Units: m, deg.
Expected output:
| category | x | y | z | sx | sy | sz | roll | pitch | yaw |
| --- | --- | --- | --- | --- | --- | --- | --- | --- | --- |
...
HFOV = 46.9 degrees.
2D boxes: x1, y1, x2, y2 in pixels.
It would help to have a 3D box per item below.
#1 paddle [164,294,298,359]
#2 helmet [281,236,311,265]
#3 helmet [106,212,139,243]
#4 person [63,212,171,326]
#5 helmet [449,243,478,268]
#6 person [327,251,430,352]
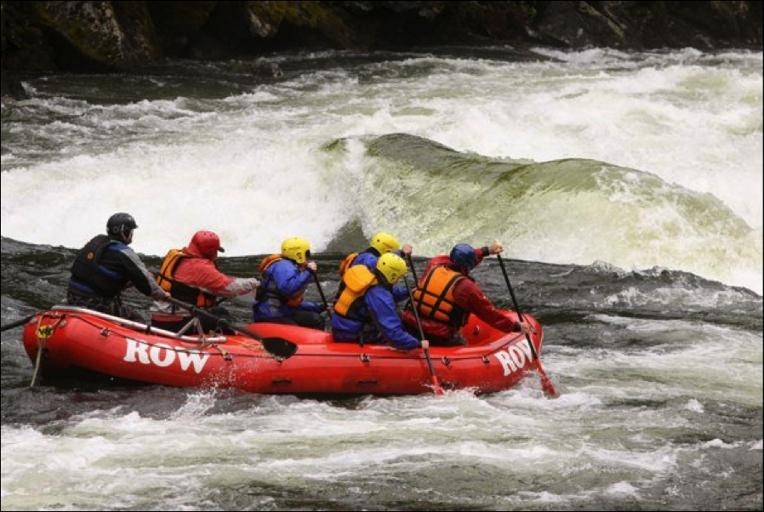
| category | x | y | z | sx | sy | sz | roll | pitch | yaw |
| --- | --- | --- | --- | --- | --- | --- | --- | --- | --- |
| paddle | -2.126 | 1.001 | 12.358 | 1.986 | 0.128 | 0.312 | 19 | 43 | 7 |
| helmet | -1.239 | -0.081 | 12.719 | 0.473 | 0.335 | 0.347 | 7 | 12 | -7 |
| helmet | -3.625 | -0.444 | 12.302 | 0.471 | 0.435 | 0.373 | -10 | 31 | -43 |
| person | -3.697 | 0.142 | 12.211 | 1.290 | 1.495 | 0.496 | -1 | 0 | -9 |
| helmet | 1.222 | -0.044 | 12.928 | 0.334 | 0.338 | 0.376 | 17 | 20 | -11 |
| person | -0.043 | 0.696 | 12.655 | 1.061 | 1.182 | 0.825 | -12 | 57 | -26 |
